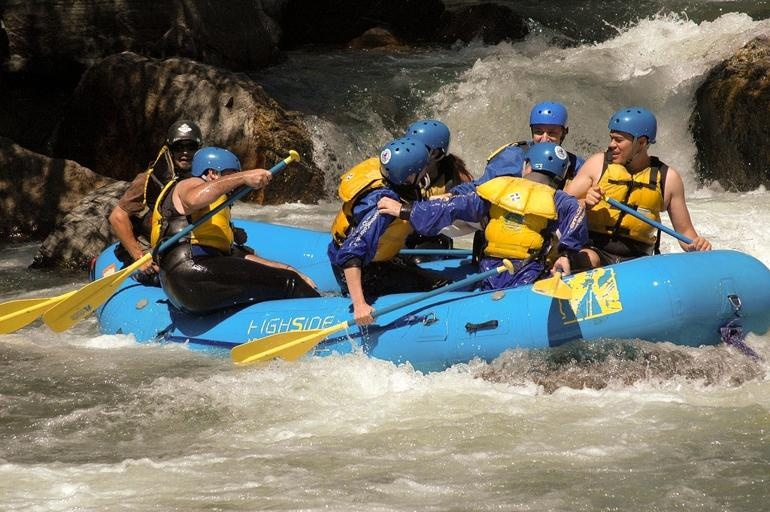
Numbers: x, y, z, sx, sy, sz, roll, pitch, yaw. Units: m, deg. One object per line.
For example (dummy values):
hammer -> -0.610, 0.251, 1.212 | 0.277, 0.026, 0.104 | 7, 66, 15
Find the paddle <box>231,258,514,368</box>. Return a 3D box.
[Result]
paddle -> -0.144, 0.665, 11.859 | 3.641, 0.320, 0.315 | -14, -21, 5

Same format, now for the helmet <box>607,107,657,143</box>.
helmet -> 2.851, -1.467, 12.052 | 0.536, 0.333, 0.392 | -13, -5, 32

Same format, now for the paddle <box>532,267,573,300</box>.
paddle -> 1.769, 0.310, 11.358 | 0.426, 0.297, 0.260 | -1, 6, 4

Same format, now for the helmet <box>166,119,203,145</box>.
helmet -> -2.363, -1.505, 12.815 | 0.321, 0.246, 0.352 | 2, -33, -11

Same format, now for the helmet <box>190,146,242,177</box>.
helmet -> -1.918, -1.056, 12.345 | 0.509, 0.242, 0.346 | 13, 0, -4
